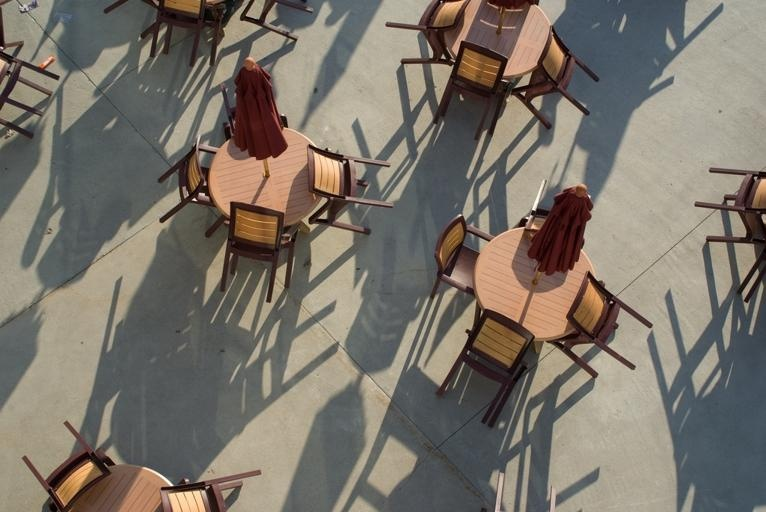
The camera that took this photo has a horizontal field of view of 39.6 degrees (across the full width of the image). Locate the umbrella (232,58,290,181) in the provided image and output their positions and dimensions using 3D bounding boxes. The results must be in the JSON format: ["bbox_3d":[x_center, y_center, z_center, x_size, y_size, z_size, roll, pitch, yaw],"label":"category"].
[{"bbox_3d":[-2.000,-2.320,17.226,1.052,1.765,0.619,15,0,-34],"label":"umbrella"}]

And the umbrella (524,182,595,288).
[{"bbox_3d":[2.904,-0.258,17.412,0.625,0.626,1.334,22,-26,6],"label":"umbrella"}]
